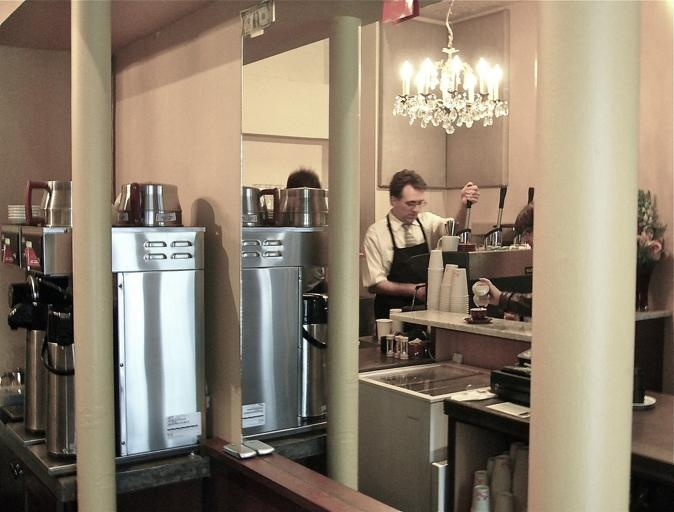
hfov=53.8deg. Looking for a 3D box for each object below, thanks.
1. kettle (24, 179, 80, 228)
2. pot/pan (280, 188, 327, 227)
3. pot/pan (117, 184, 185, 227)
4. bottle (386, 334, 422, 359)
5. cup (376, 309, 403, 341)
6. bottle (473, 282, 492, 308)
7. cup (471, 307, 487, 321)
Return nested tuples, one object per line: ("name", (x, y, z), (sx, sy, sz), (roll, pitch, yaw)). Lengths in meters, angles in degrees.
("kettle", (-0.909, -0.167, 2.204), (0.221, 0.202, 0.148), (0, 2, -22))
("pot/pan", (-0.092, -0.122, 1.783), (0.107, 0.078, 0.110), (1, 1, 5))
("pot/pan", (-0.589, -0.161, 2.160), (0.134, 0.112, 0.177), (2, 3, 21))
("bottle", (0.150, 0.207, 1.540), (0.031, 0.054, 0.103), (-4, 2, -43))
("cup", (0.124, 0.160, 1.555), (0.058, 0.048, 0.063), (1, 5, 0))
("bottle", (0.308, 0.080, 1.416), (0.029, 0.049, 0.050), (2, 1, 13))
("cup", (0.302, 0.123, 1.415), (0.027, 0.021, 0.029), (3, 3, 0))
